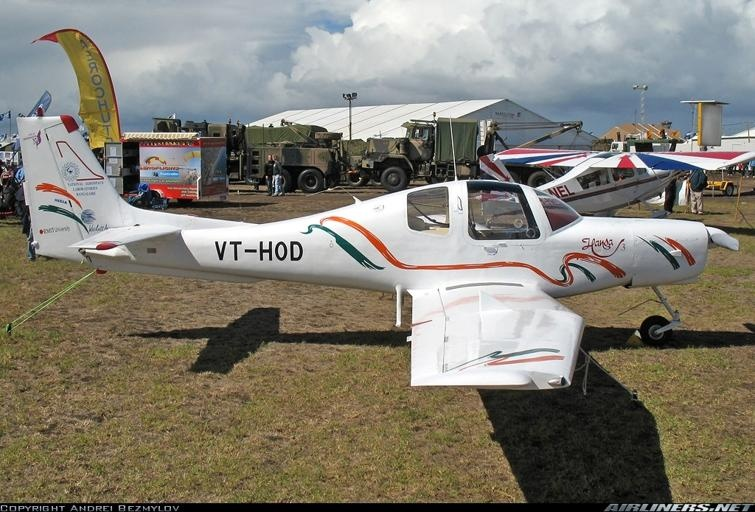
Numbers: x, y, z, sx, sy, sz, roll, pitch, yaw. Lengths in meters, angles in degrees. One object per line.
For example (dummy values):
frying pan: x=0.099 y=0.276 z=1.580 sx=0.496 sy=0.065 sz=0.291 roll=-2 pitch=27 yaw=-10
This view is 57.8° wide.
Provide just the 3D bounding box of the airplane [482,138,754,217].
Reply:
airplane: x=6.366 y=-2.222 z=17.891 sx=3.568 sy=0.878 sz=3.717 roll=-9 pitch=16 yaw=-32
